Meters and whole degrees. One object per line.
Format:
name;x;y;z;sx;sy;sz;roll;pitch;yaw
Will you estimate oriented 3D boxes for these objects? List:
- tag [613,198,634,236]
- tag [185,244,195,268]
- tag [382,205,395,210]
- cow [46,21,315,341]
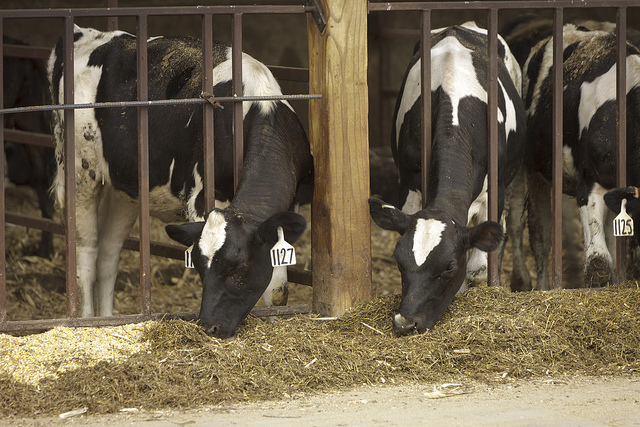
tag;2.678;0.032;9.192;0.157;0.341;0.184;2;1;17
tag;-1.125;0.379;8.798;0.040;0.156;0.151;1;-4;-23
tag;0.581;-0.055;9.036;0.100;0.038;0.077;3;1;-1
cow;-1.324;-0.377;9.810;1.473;2.938;3.262;2;1;-39
